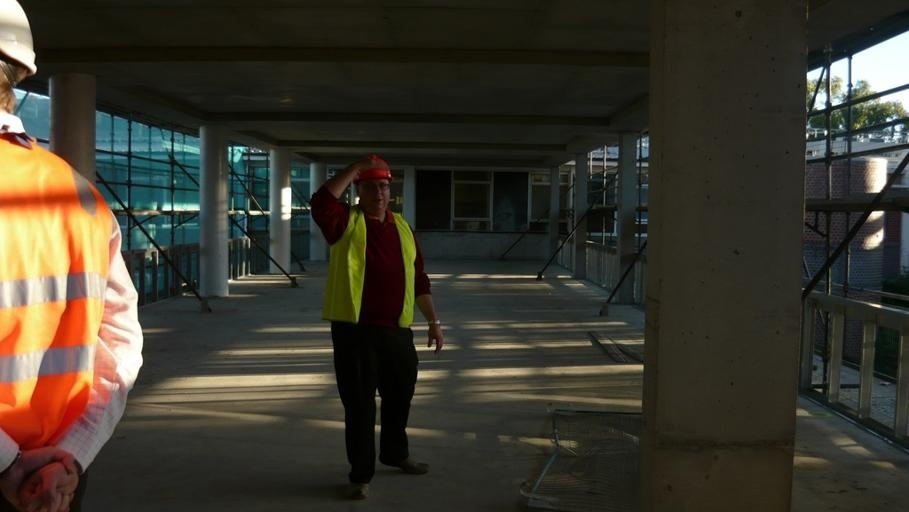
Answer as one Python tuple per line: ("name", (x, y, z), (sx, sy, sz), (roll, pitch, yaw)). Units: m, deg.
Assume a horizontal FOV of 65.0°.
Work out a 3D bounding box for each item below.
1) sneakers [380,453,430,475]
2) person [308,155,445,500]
("sneakers", (-0.391, 1.882, 6.402), (0.500, 0.204, 0.169), (6, 2, 3))
("person", (-0.712, 0.588, 6.170), (0.916, 2.874, 0.620), (-3, 10, -15))
